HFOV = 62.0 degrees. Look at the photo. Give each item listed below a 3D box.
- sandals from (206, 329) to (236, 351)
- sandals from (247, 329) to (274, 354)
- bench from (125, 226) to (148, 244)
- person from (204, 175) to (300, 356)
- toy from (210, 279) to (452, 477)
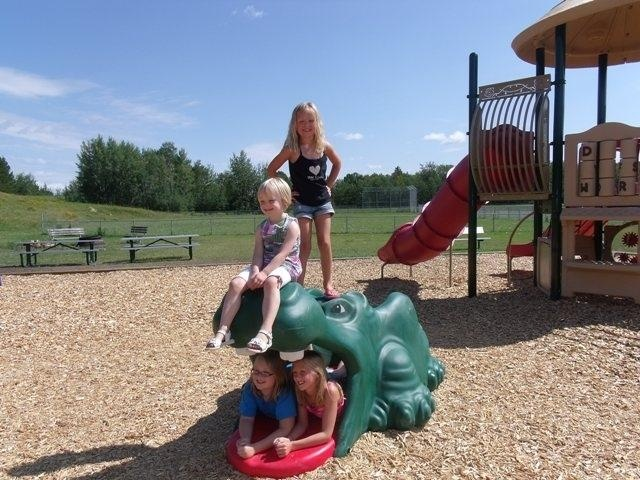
[{"bbox_3d":[-0.825,0.812,4.287,0.105,0.120,0.277,-2,-8,19],"label":"sandals"},{"bbox_3d":[-0.481,0.819,4.272,0.110,0.109,0.244,0,-9,13],"label":"sandals"},{"bbox_3d":[-6.737,-0.186,19.393,0.956,0.770,0.899,0,6,-20],"label":"bench"},{"bbox_3d":[-0.529,0.246,4.633,0.594,1.472,1.160,1,13,12],"label":"person"},{"bbox_3d":[0.253,1.070,5.101,1.506,1.063,1.875,-5,2,39],"label":"toy"}]
